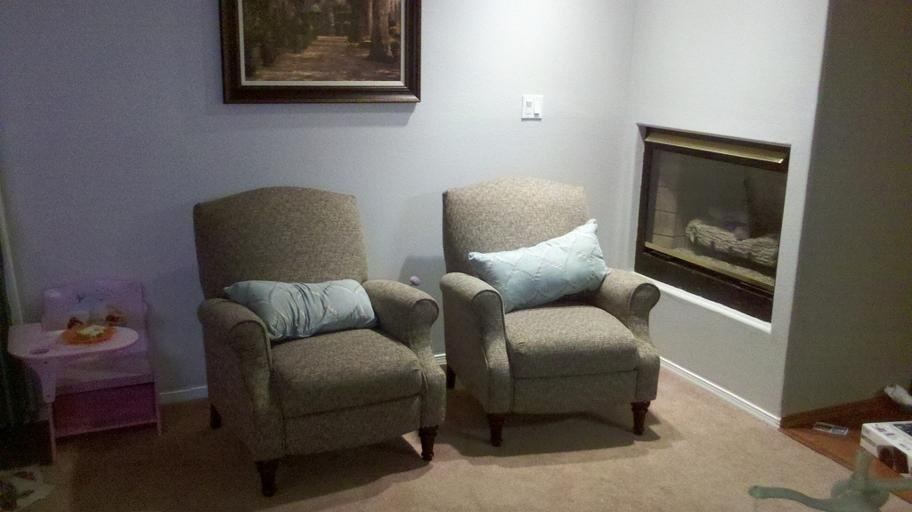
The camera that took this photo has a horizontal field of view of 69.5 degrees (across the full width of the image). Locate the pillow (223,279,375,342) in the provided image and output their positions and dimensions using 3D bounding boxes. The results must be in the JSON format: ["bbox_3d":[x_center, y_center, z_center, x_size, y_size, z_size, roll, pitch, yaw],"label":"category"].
[{"bbox_3d":[-0.942,0.304,4.220,0.609,0.254,0.936,31,24,36],"label":"pillow"}]

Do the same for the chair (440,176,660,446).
[{"bbox_3d":[0.610,0.245,4.910,1.729,1.836,1.727,-3,9,-14],"label":"chair"}]

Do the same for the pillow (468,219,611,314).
[{"bbox_3d":[0.615,0.103,4.536,0.921,0.478,0.276,-17,12,-7],"label":"pillow"}]

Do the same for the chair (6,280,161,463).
[{"bbox_3d":[-2.348,0.746,4.076,0.997,1.032,0.667,-6,19,-28],"label":"chair"}]

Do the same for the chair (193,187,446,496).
[{"bbox_3d":[-0.882,0.445,4.117,1.382,1.623,1.123,-9,20,-22],"label":"chair"}]
